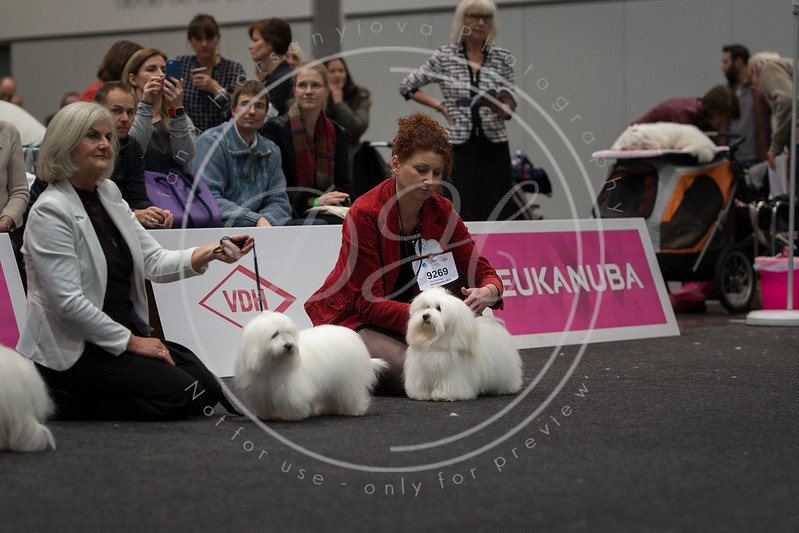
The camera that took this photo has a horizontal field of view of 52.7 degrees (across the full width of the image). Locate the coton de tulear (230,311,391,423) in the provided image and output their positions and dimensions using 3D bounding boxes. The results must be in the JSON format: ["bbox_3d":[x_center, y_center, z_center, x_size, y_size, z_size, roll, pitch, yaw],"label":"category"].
[{"bbox_3d":[-0.500,0.572,4.797,0.863,0.711,0.432,-3,3,-34],"label":"coton de tulear"}]

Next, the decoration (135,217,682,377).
[{"bbox_3d":[0.884,0.130,6.205,3.613,1.094,0.405,-2,0,-35],"label":"decoration"}]

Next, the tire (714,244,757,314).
[{"bbox_3d":[3.325,0.117,7.952,0.104,0.661,0.496,6,14,44],"label":"tire"}]

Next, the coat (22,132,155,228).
[{"bbox_3d":[-2.114,-0.729,5.548,0.966,0.823,0.527,2,8,-43],"label":"coat"}]

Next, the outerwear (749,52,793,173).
[{"bbox_3d":[3.672,-1.578,7.884,0.288,0.957,0.777,2,12,5],"label":"outerwear"}]

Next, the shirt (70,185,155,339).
[{"bbox_3d":[-1.752,-0.188,4.808,0.178,0.521,0.193,-10,13,13],"label":"shirt"}]

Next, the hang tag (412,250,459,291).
[{"bbox_3d":[0.221,0.020,5.180,0.189,0.168,0.022,-17,-16,-9],"label":"hang tag"}]

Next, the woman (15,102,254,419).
[{"bbox_3d":[-1.589,0.300,4.934,1.270,2.577,0.902,-2,4,-12],"label":"woman"}]

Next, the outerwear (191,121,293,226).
[{"bbox_3d":[-1.124,-0.626,5.875,0.679,0.831,0.508,0,2,-29],"label":"outerwear"}]

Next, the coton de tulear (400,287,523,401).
[{"bbox_3d":[0.425,0.492,5.177,0.813,0.760,0.501,-4,5,-41],"label":"coton de tulear"}]

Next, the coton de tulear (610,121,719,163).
[{"bbox_3d":[2.526,-1.164,7.603,0.962,0.344,0.397,5,12,18],"label":"coton de tulear"}]

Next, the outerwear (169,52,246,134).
[{"bbox_3d":[-1.556,-1.477,6.500,0.306,0.597,0.551,-39,25,-30],"label":"outerwear"}]

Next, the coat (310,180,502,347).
[{"bbox_3d":[0.093,0.080,5.289,1.238,1.248,1.012,-7,-10,36],"label":"coat"}]

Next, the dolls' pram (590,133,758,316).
[{"bbox_3d":[2.824,-0.427,8.081,1.111,1.755,1.110,-1,2,-19],"label":"dolls' pram"}]

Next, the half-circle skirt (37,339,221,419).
[{"bbox_3d":[-1.551,0.720,4.728,0.652,0.379,0.532,5,-8,-14],"label":"half-circle skirt"}]

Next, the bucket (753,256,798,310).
[{"bbox_3d":[3.535,0.148,7.654,0.399,0.582,0.449,0,4,6],"label":"bucket"}]
